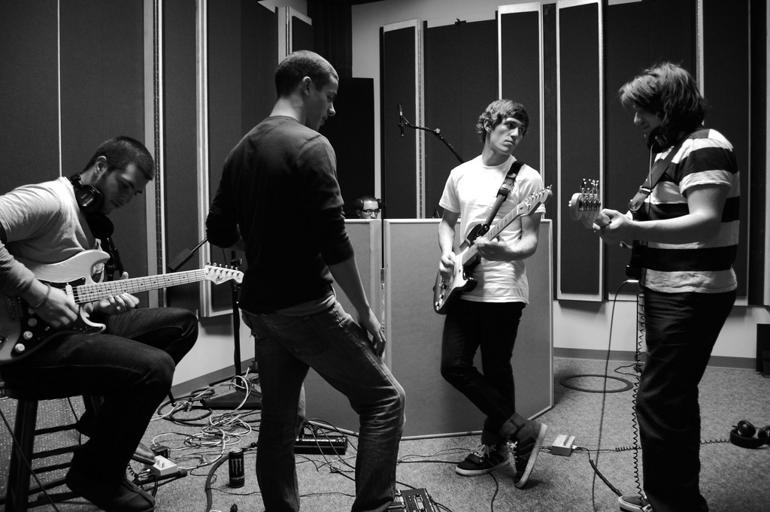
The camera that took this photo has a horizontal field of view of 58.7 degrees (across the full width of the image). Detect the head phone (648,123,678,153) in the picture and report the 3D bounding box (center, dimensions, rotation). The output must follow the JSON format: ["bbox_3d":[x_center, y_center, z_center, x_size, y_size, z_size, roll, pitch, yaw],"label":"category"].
[{"bbox_3d":[1.528,-0.642,3.763,0.098,0.129,0.126,-4,11,-35],"label":"head phone"}]

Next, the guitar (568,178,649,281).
[{"bbox_3d":[1.356,-0.142,4.014,0.232,0.490,0.900,-2,-20,39],"label":"guitar"}]

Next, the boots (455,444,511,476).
[{"bbox_3d":[0.640,1.320,4.470,0.405,0.190,0.141,-1,-3,-28],"label":"boots"}]

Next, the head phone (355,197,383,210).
[{"bbox_3d":[-0.131,-0.457,6.021,0.158,0.086,0.176,1,2,-18],"label":"head phone"}]

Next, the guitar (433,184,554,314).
[{"bbox_3d":[0.656,-0.029,4.322,0.705,0.785,0.397,-2,10,7],"label":"guitar"}]
